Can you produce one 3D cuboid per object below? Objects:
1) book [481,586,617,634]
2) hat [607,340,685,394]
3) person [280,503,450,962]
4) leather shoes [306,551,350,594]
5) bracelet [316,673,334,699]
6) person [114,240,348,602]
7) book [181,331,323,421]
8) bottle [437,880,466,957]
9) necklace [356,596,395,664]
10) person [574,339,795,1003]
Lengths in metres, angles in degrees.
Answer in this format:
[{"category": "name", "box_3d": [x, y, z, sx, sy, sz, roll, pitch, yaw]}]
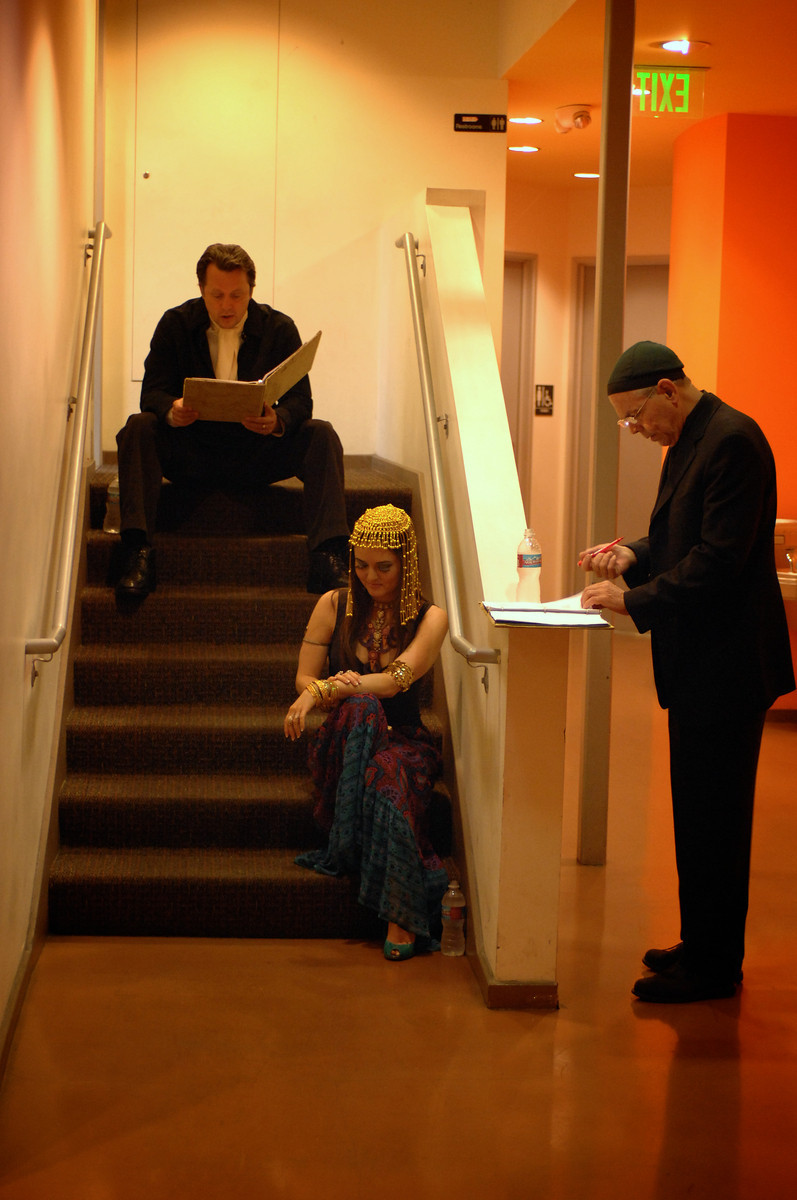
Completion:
[{"category": "book", "box_3d": [0.337, 0.026, 2.173, 0.276, 0.085, 0.365, 1, -2, 6]}, {"category": "hat", "box_3d": [0.578, -0.536, 2.247, 0.144, 0.109, 0.112, -3, 11, -4]}, {"category": "person", "box_3d": [-0.067, 0.329, 2.704, 0.450, 1.181, 0.539, 1, -3, 3]}, {"category": "leather shoes", "box_3d": [-0.245, -0.098, 3.404, 0.127, 0.146, 0.140, 0, 4, 2]}, {"category": "bracelet", "box_3d": [-0.197, 0.239, 2.628, 0.037, 0.043, 0.051, 0, 5, 0]}, {"category": "person", "box_3d": [-0.677, -0.698, 3.557, 0.746, 1.311, 0.966, -1, 5, -27]}, {"category": "book", "box_3d": [-0.513, -0.697, 3.269, 0.417, 0.281, 0.311, 1, -6, -8]}, {"category": "bottle", "box_3d": [0.154, 0.828, 2.522, 0.082, 0.180, 0.074, 2, -3, -15]}, {"category": "necklace", "box_3d": [-0.056, 0.085, 2.800, 0.093, 0.178, 0.072, 7, 9, 10]}, {"category": "person", "box_3d": [0.680, 0.172, 2.252, 0.476, 1.526, 0.539, 1, -3, 12]}]
